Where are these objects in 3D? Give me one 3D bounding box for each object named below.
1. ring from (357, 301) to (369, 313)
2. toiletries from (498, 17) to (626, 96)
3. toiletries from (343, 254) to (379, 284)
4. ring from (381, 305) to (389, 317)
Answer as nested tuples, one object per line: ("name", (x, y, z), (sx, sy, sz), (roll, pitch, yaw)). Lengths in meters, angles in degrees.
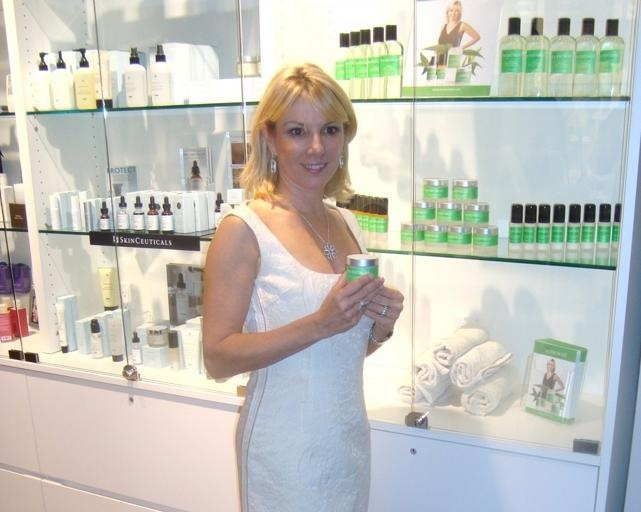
("ring", (0.113, 0.133, 1.420), (0.019, 0.030, 0.008), (19, 13, 28))
("toiletries", (0.789, -0.641, 1.714), (0.240, 0.180, 0.056), (1, 10, 9))
("toiletries", (0.120, 0.031, 1.424), (0.066, 0.057, 0.070), (0, 2, -10))
("ring", (0.180, 0.151, 1.499), (0.020, 0.024, 0.021), (28, -1, 0))
